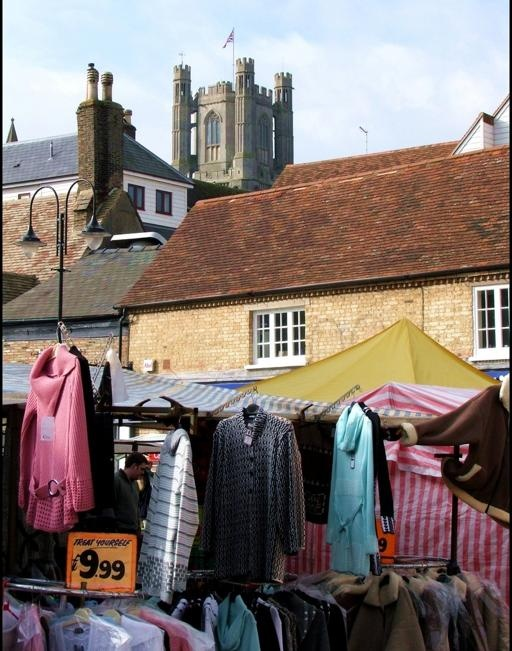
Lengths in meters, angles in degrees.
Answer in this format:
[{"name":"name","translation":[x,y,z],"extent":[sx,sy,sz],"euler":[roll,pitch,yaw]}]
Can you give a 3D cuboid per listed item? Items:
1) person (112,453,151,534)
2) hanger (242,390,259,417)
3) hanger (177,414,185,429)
[{"name":"person","translation":[-1.180,1.580,11.417],"extent":[0.303,0.716,0.809],"euler":[1,-2,-5]},{"name":"hanger","translation":[-0.044,0.605,9.284],"extent":[0.131,0.308,0.021],"euler":[1,-29,6]},{"name":"hanger","translation":[-0.524,0.668,8.380],"extent":[0.049,0.089,0.105],"euler":[0,-2,7]}]
